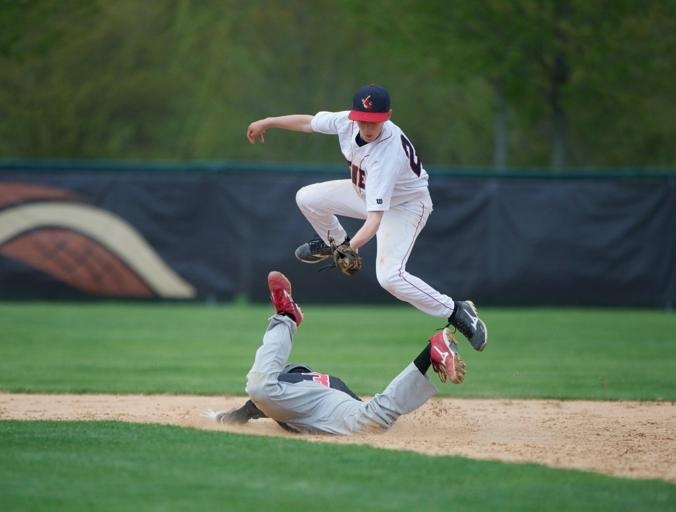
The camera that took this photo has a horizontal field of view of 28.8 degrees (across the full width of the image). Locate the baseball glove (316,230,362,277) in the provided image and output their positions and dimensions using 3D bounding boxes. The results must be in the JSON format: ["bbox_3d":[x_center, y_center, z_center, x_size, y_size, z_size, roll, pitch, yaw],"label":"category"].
[{"bbox_3d":[0.008,0.008,12.224,0.377,0.175,0.314,25,22,17],"label":"baseball glove"}]

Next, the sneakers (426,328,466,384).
[{"bbox_3d":[1.010,0.910,11.970,0.223,0.506,0.284,-26,-1,29],"label":"sneakers"}]

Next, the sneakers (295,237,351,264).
[{"bbox_3d":[-0.153,-0.041,12.873,0.589,0.268,0.221,-2,8,-5],"label":"sneakers"}]

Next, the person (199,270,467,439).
[{"bbox_3d":[-0.064,0.927,12.006,2.615,1.456,0.872,6,-4,16],"label":"person"}]

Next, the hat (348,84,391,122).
[{"bbox_3d":[0.293,-1.438,12.251,0.354,0.263,0.487,6,33,7],"label":"hat"}]
